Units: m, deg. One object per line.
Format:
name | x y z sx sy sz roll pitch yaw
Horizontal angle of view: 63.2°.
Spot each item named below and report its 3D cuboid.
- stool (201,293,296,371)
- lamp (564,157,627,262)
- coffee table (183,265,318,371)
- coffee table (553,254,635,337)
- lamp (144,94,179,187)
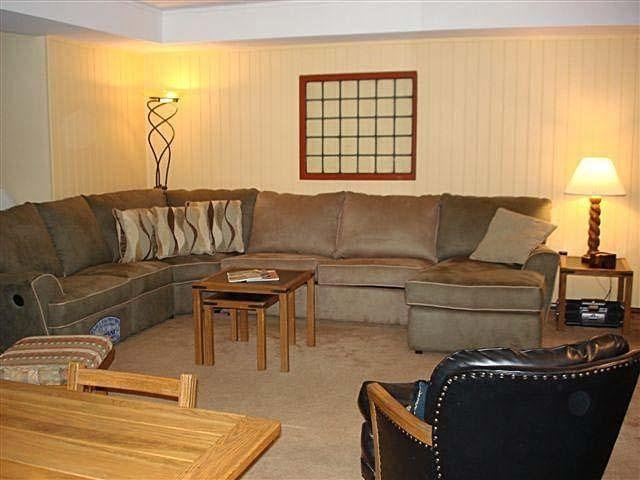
stool | -0.504 0.589 3.834 0.631 0.553 0.594 2 9 13
lamp | 2.476 -0.287 4.753 0.474 0.927 0.882 7 14 27
coffee table | -0.459 0.527 3.951 0.821 0.595 0.789 0 1 14
coffee table | 2.362 0.449 4.712 0.758 0.668 0.725 1 4 20
lamp | -1.865 -1.151 6.152 0.422 1.053 0.258 1 14 2
